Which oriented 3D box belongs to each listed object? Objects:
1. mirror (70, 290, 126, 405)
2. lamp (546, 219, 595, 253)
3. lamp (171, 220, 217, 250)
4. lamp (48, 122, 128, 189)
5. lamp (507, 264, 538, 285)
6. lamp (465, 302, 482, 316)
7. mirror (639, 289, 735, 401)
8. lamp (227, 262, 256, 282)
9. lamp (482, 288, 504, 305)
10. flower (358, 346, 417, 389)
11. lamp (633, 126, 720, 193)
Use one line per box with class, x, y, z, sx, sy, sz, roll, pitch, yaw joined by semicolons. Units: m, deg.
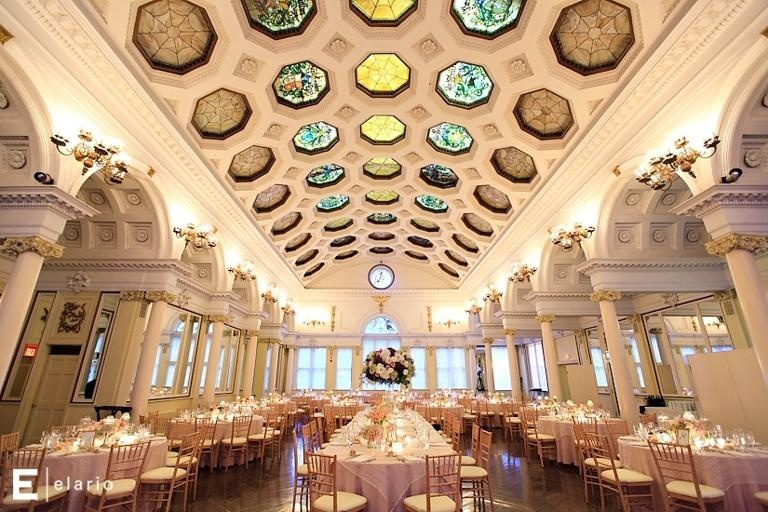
mirror;-8.417;2.679;12.513;0.562;3.011;0.971;14;-26;-34
lamp;5.127;-0.577;11.977;0.981;0.628;0.986;-20;-15;-4
lamp;-5.239;-0.504;11.775;1.085;0.430;0.890;25;8;2
lamp;-6.352;-2.275;9.287;1.320;1.021;1.277;19;-30;-42
lamp;4.591;0.594;14.269;0.835;0.386;0.825;-10;-20;7
lamp;4.322;2.553;20.467;0.957;0.474;0.955;4;-17;-15
mirror;9.450;2.757;13.321;0.149;3.856;3.457;-2;-13;-18
lamp;-4.614;0.438;14.221;0.831;0.564;0.836;0;-38;8
lamp;4.444;1.663;17.603;0.846;0.531;1.038;3;-15;-11
flower;0.079;2.950;11.503;1.271;1.109;1.269;3;-7;-9
lamp;6.347;-2.088;9.280;1.300;0.911;1.296;-24;-14;-34
